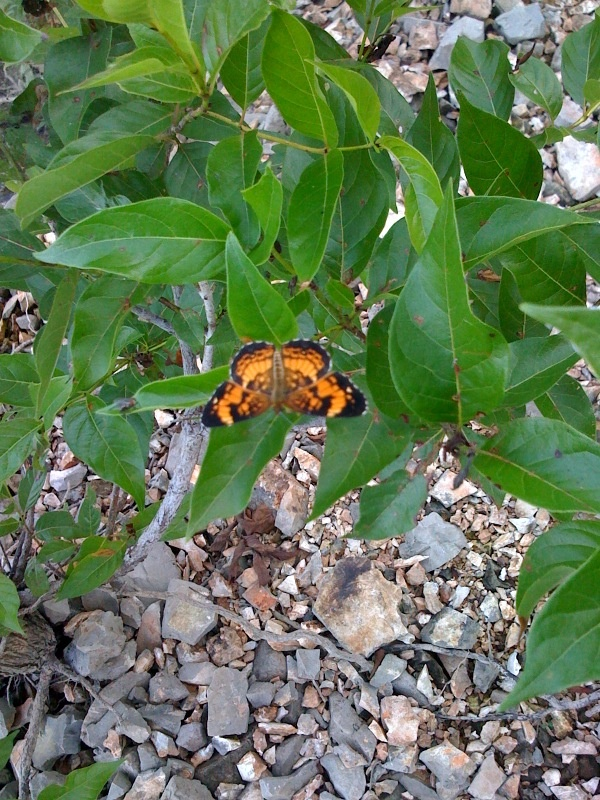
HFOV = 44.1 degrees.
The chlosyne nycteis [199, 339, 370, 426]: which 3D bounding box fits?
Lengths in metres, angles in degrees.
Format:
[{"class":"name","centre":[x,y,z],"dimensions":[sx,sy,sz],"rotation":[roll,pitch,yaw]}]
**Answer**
[{"class":"chlosyne nycteis","centre":[-0.051,-0.031,1.369],"dimensions":[0.319,0.052,0.145],"rotation":[-6,87,17]}]
